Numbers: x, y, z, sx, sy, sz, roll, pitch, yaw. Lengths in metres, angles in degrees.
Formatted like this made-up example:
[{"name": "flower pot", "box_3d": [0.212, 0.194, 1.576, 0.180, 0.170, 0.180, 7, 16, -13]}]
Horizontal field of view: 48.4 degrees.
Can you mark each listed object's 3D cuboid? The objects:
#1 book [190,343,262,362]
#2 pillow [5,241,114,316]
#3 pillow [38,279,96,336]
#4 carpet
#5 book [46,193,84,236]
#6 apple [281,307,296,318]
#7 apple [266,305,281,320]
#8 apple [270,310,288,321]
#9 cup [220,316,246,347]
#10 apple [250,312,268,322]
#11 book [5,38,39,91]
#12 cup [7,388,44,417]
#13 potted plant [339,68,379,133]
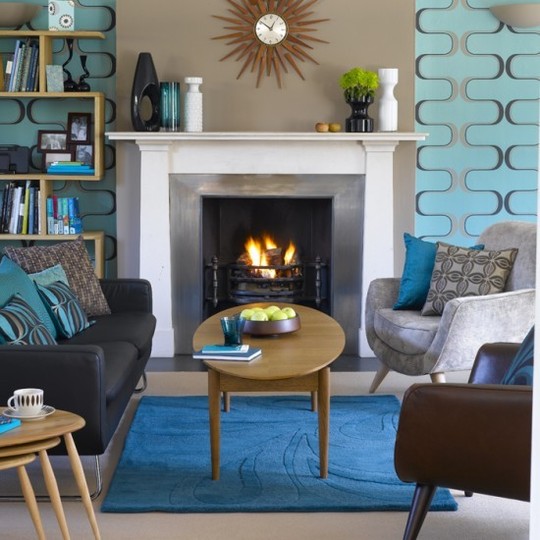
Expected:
[{"name": "book", "box_3d": [-0.157, 0.304, 2.252, 0.249, 0.041, 0.169, 0, 8, -3]}, {"name": "pillow", "box_3d": [-1.025, 0.029, 3.080, 0.128, 0.437, 0.422, -22, -7, 32]}, {"name": "pillow", "box_3d": [-0.931, 0.181, 2.751, 0.067, 0.234, 0.203, -31, -21, 16]}, {"name": "carpet", "box_3d": [0.022, 0.757, 2.706, 1.213, 0.054, 1.464, -1, 5, -1]}, {"name": "book", "box_3d": [-1.331, -0.345, 3.982, 0.198, 0.299, 0.286, 0, 4, -3]}, {"name": "apple", "box_3d": [0.080, 0.179, 2.588, 0.041, 0.054, 0.043, 2, 7, 12]}, {"name": "apple", "box_3d": [0.018, 0.180, 2.568, 0.048, 0.026, 0.051, 0, 15, -10]}, {"name": "apple", "box_3d": [0.038, 0.194, 2.534, 0.038, 0.043, 0.040, 8, 11, 24]}, {"name": "cup", "box_3d": [-0.134, 0.229, 2.270, 0.089, 0.106, 0.097, 1, 5, 0]}, {"name": "apple", "box_3d": [-0.042, 0.196, 2.518, 0.041, 0.054, 0.041, -6, 7, -31]}, {"name": "book", "box_3d": [-1.595, -1.324, 3.874, 0.205, 0.357, 0.170, -3, 8, -25]}, {"name": "cup", "box_3d": [-0.673, 0.357, 1.662, 0.089, 0.073, 0.074, 0, 2, -26]}, {"name": "potted plant", "box_3d": [0.553, -1.089, 3.843, 0.325, 0.488, 0.356, 1, 19, 7]}]
